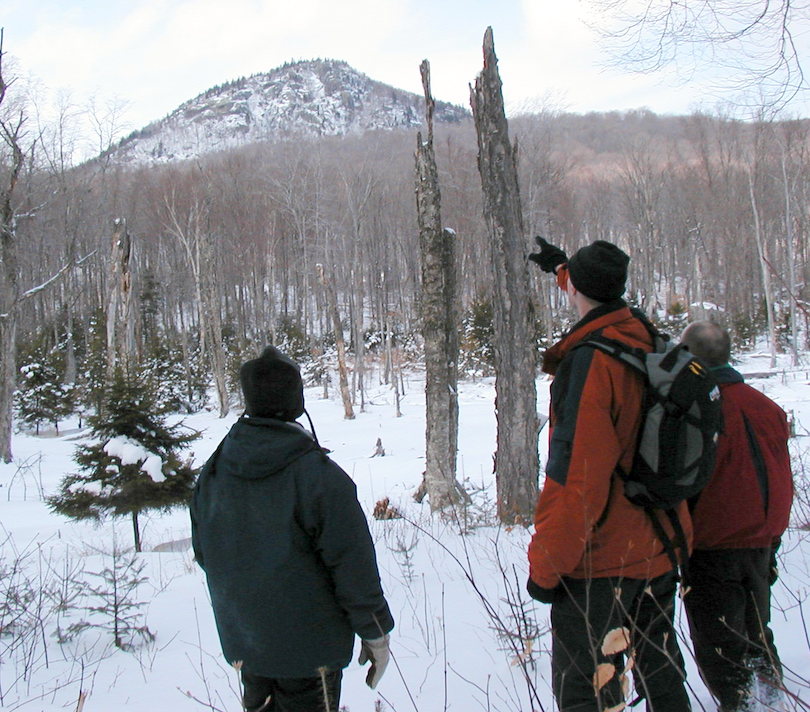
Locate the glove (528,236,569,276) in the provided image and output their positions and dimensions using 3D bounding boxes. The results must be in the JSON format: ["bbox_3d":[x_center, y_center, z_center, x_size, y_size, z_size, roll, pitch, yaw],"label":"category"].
[{"bbox_3d":[1.517,-1.065,10.990,0.304,0.463,0.213,-45,-13,11],"label":"glove"}]

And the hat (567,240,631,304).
[{"bbox_3d":[1.961,-0.868,10.576,0.499,0.523,0.608,14,25,-8],"label":"hat"}]

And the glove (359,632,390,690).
[{"bbox_3d":[-0.328,3.041,10.450,0.344,0.544,0.224,12,-11,-34],"label":"glove"}]
